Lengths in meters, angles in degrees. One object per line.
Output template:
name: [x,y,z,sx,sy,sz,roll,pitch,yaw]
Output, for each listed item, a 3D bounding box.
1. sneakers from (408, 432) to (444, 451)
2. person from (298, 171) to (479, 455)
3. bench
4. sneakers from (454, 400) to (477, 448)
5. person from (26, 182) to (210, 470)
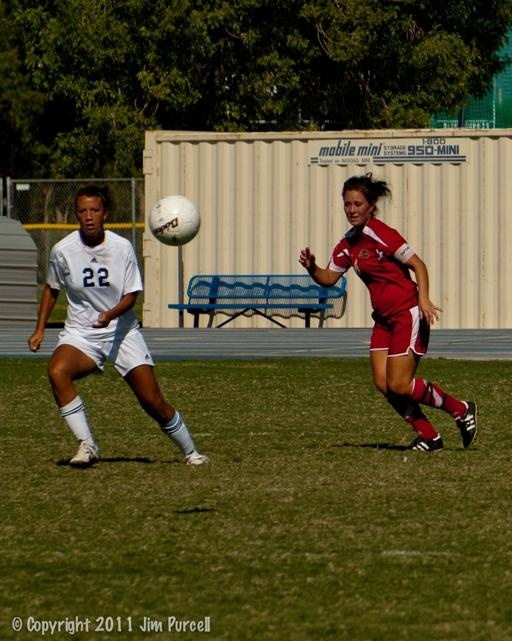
sneakers: [1.056,0.757,9.136,0.232,0.109,0.082,0,2,3]
person: [0.830,0.092,8.917,0.968,1.464,0.748,0,5,8]
bench: [-0.013,-0.188,20.293,2.255,0.862,0.790,0,-4,-15]
sneakers: [1.311,0.641,9.167,0.124,0.318,0.098,-1,-8,-19]
person: [-0.852,0.041,8.433,0.989,1.637,0.635,-1,5,5]
